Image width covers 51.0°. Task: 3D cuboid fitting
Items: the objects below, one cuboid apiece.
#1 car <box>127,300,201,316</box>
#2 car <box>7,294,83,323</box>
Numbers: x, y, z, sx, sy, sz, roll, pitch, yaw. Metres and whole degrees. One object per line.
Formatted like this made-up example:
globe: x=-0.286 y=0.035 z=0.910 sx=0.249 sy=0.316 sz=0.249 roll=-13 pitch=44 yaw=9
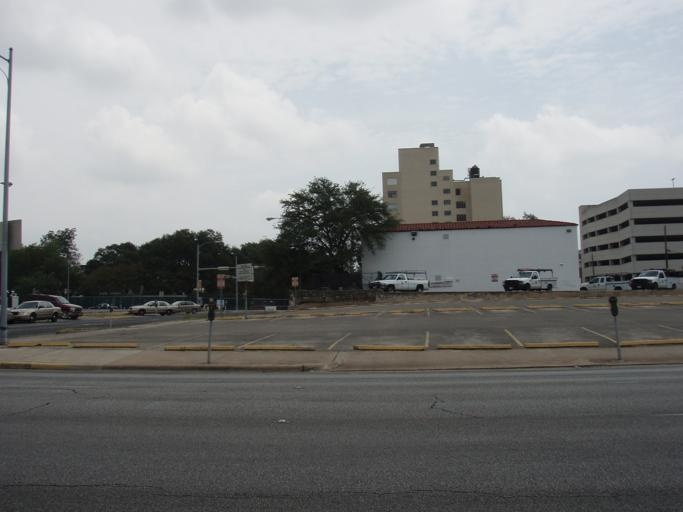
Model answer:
car: x=-14.896 y=4.322 z=60.398 sx=2.287 sy=1.210 sz=7.543 roll=-1 pitch=-1 yaw=17
car: x=-19.039 y=3.339 z=46.259 sx=1.946 sy=1.250 sz=4.085 roll=-3 pitch=-8 yaw=21
